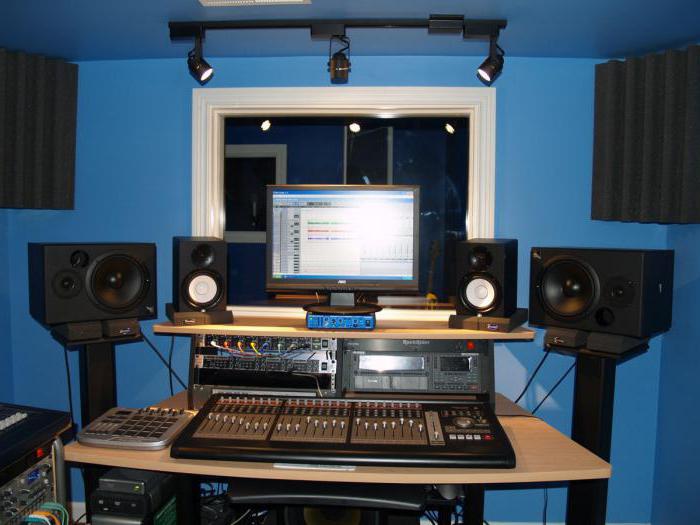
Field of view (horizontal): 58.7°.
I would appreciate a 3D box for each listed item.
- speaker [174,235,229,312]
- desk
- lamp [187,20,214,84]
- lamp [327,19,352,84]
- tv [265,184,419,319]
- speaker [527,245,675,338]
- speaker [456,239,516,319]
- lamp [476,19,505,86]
[{"bbox_3d":[-0.772,0.060,3.288,0.276,0.385,0.314,-1,6,-21],"label":"speaker"},{"bbox_3d":[0.051,0.657,3.059,2.233,0.690,0.946,1,2,0],"label":"desk"},{"bbox_3d":[-0.811,-1.111,3.372,0.124,0.241,0.297,0,2,-18],"label":"lamp"},{"bbox_3d":[-0.054,-1.109,3.381,0.125,0.242,0.359,1,2,-1],"label":"lamp"},{"bbox_3d":[-0.038,-0.080,3.183,0.810,0.608,0.228,0,-2,2],"label":"tv"},{"bbox_3d":[1.258,0.123,3.176,0.364,0.406,0.599,-6,6,-43],"label":"speaker"},{"bbox_3d":[0.718,0.078,3.191,0.326,0.370,0.318,1,4,19],"label":"speaker"},{"bbox_3d":[0.748,-1.095,3.316,0.122,0.253,0.222,2,2,16],"label":"lamp"}]
